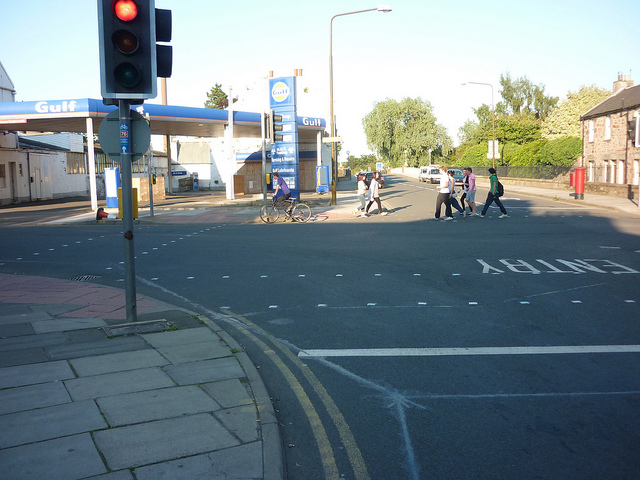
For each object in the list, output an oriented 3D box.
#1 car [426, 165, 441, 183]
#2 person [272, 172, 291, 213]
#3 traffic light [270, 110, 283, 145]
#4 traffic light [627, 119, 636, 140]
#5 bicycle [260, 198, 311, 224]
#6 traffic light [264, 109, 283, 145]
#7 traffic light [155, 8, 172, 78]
[{"bbox_3d":[11.540,-6.564,56.009,1.752,1.847,3.391,-2,4,0],"label":"car"},{"bbox_3d":[-1.487,-1.814,22.163,0.565,1.651,1.266,5,10,28],"label":"person"},{"bbox_3d":[-2.145,-5.492,27.533,0.551,1.528,1.050,-1,9,-6],"label":"traffic light"},{"bbox_3d":[19.452,-6.872,35.395,0.241,1.198,1.125,2,9,14],"label":"traffic light"},{"bbox_3d":[-1.396,-1.197,22.883,1.918,1.258,0.968,1,-1,-6],"label":"bicycle"},{"bbox_3d":[-2.176,-5.551,27.451,0.708,1.451,0.606,8,29,9],"label":"traffic light"},{"bbox_3d":[-2.333,-2.925,8.475,0.221,0.988,0.358,-2,9,-12],"label":"traffic light"}]
